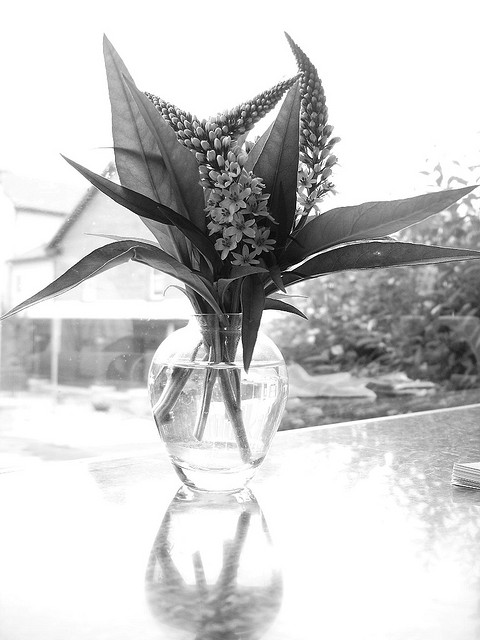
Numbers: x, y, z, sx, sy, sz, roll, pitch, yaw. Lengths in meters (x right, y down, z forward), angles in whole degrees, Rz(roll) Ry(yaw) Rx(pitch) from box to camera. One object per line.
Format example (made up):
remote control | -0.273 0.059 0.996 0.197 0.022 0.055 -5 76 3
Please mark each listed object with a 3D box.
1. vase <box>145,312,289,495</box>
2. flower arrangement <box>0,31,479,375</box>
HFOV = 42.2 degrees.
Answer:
vase | -0.041 0.106 0.821 0.197 0.220 0.194 1 -2 3
flower arrangement | 0.044 -0.132 0.771 0.464 0.377 0.465 1 4 13
